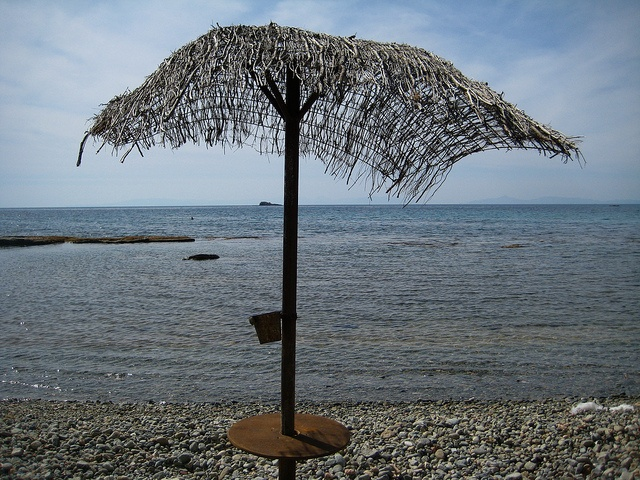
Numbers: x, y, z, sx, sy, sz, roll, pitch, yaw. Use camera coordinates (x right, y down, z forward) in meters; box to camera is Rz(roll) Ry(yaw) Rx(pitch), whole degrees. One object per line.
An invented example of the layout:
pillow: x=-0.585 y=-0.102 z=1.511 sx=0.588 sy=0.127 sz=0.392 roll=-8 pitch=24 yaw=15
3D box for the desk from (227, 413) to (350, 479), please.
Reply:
desk: x=-0.422 y=2.671 z=8.693 sx=1.181 sy=0.601 sz=1.149 roll=-1 pitch=4 yaw=-43
